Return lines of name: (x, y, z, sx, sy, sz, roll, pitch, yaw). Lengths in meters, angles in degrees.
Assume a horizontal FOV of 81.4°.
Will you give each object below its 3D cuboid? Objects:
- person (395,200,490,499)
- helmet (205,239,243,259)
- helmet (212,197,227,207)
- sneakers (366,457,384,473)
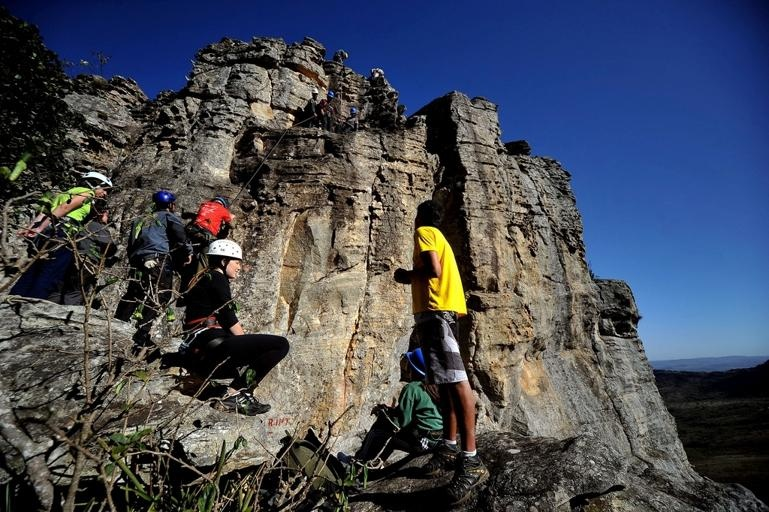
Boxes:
person: (0.798, 1.345, 6.265, 0.834, 3.707, 1.364, -7, -28, 12)
helmet: (-2.486, -0.125, 6.894, 0.453, 0.209, 0.335, 14, -11, -18)
helmet: (-3.527, -1.100, 9.482, 0.254, 0.295, 0.268, 2, -59, -14)
sneakers: (-0.145, 3.307, 7.121, 0.179, 0.209, 0.582, -9, -27, 16)
